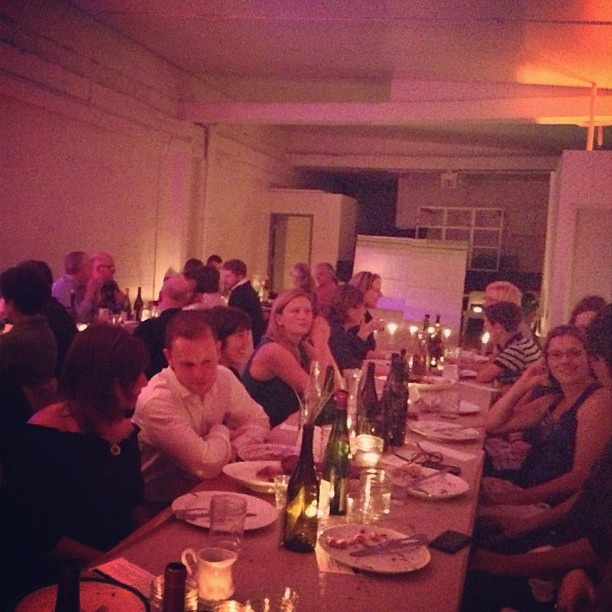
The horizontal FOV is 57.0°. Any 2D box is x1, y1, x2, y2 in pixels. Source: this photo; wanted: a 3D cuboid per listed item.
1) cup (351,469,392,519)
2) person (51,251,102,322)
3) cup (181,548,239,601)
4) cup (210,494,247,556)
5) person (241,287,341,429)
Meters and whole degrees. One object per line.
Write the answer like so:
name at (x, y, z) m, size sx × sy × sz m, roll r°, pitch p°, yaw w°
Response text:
cup at (0.170, 0.523, 1.565) m, size 0.118 × 0.142 × 0.113 m, roll -2°, pitch -4°, yaw 0°
person at (-2.193, -0.150, 5.382) m, size 0.332 × 0.362 × 1.180 m, roll 20°, pitch -33°, yaw -8°
cup at (-0.187, 0.500, 1.058) m, size 0.087 × 0.097 × 0.062 m, roll 11°, pitch 9°, yaw -1°
cup at (-0.177, 0.485, 1.270) m, size 0.073 × 0.096 × 0.076 m, roll 5°, pitch -7°, yaw 1°
person at (-0.096, 0.379, 3.095) m, size 0.450 × 0.974 × 0.373 m, roll 11°, pitch 24°, yaw 14°
